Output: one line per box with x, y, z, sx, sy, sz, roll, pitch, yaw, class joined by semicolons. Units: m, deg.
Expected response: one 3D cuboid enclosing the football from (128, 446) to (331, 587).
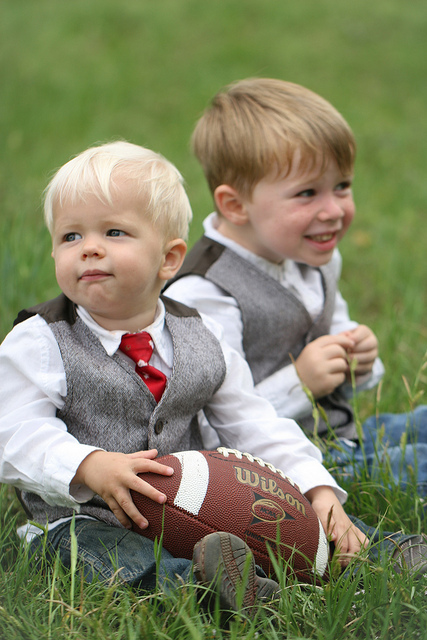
0.037;0.331;1.251;0.393;0.204;0.226;21;10;-3;football

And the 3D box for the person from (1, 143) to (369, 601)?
0.023;0.050;1.632;1.042;0.946;0.782;6;8;42;person

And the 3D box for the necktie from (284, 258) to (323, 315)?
0.247;-0.090;1.814;0.057;0.170;0.098;-30;1;24;necktie
